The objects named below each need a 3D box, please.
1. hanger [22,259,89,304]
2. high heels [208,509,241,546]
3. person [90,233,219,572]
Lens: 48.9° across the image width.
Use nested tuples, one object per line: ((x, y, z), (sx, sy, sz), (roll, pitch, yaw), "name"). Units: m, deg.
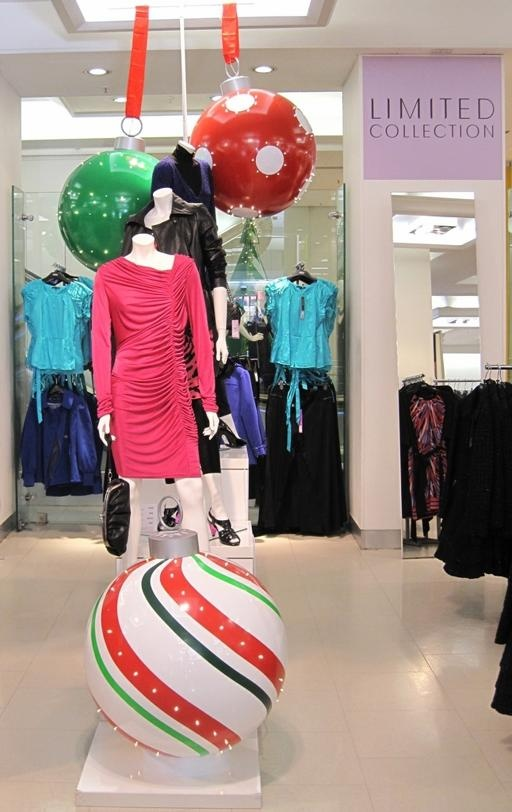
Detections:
((-1.502, -0.986, 4.245), (0.433, 0.274, 0.490), (1, -1, -32), "hanger")
((-0.112, 0.447, 2.065), (0.055, 0.078, 0.169), (-5, 6, -29), "high heels")
((-0.297, -0.027, 1.661), (0.365, 0.922, 0.175), (0, -2, -16), "person")
